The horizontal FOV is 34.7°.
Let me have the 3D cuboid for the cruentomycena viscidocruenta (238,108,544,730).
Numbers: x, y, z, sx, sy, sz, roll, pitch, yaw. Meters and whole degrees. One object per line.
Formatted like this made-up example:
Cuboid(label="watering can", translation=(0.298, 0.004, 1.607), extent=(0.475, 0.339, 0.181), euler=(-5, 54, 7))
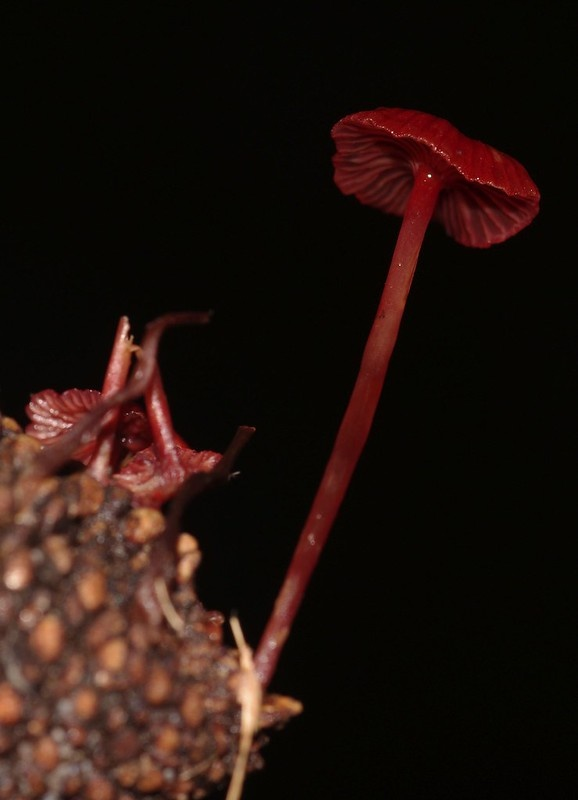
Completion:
Cuboid(label="cruentomycena viscidocruenta", translation=(0.063, -0.008, 1.363), extent=(0.320, 0.848, 0.382), euler=(23, 0, -4))
